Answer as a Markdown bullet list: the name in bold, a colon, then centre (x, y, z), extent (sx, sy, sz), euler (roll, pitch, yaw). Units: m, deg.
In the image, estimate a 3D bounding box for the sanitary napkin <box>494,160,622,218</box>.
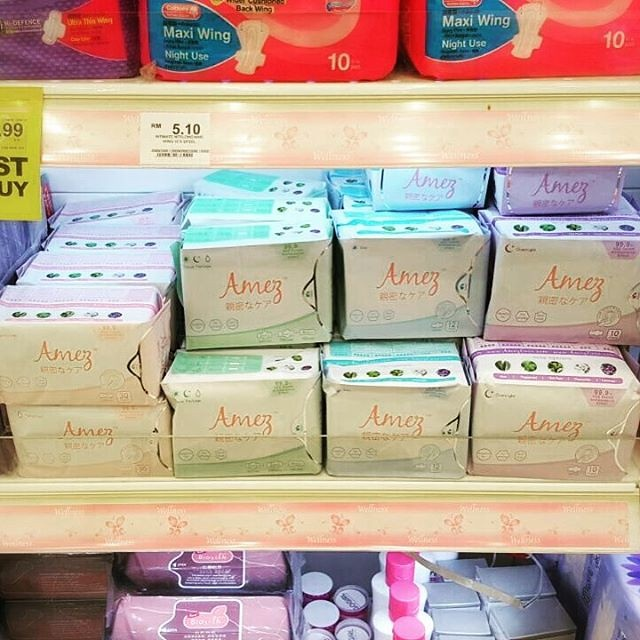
- **sanitary napkin**: centre (0.620, -0.292, 1.370), extent (0.233, 0.108, 0.277), euler (-7, 12, -27)
